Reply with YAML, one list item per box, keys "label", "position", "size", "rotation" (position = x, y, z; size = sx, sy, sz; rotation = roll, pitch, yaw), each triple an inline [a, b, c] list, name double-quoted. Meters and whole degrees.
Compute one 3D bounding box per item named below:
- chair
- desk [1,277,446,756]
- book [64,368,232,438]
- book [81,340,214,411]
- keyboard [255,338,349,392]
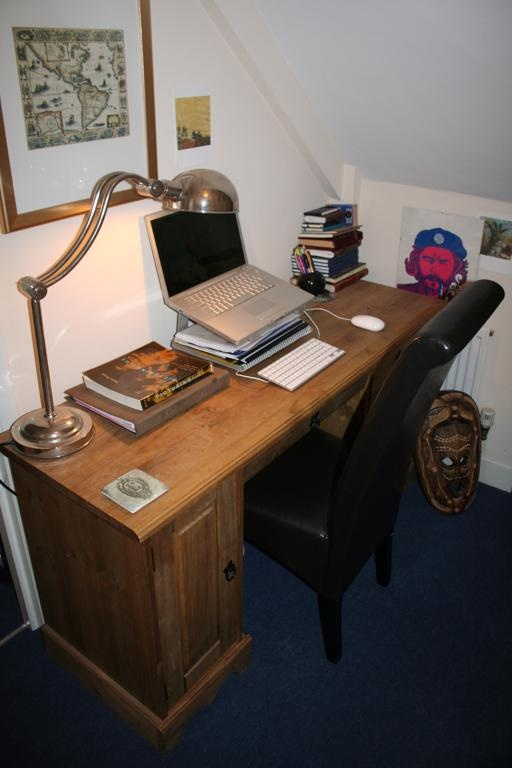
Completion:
- label: "chair"
  position: [0.315, 0.266, 1.524]
  size: [0.656, 0.982, 0.497]
  rotation: [27, 45, 31]
- label: "desk"
  position: [-0.096, 0.326, 1.481]
  size: [0.501, 0.755, 0.944]
  rotation: [15, 30, 33]
- label: "book"
  position: [-0.213, 0.037, 1.218]
  size: [0.181, 0.027, 0.191]
  rotation: [19, 35, 29]
- label: "book"
  position: [-0.251, -0.026, 1.269]
  size: [0.179, 0.040, 0.189]
  rotation: [20, 37, 27]
- label: "keyboard"
  position: [0.122, -0.049, 1.450]
  size: [0.118, 0.010, 0.222]
  rotation: [28, 45, 27]
